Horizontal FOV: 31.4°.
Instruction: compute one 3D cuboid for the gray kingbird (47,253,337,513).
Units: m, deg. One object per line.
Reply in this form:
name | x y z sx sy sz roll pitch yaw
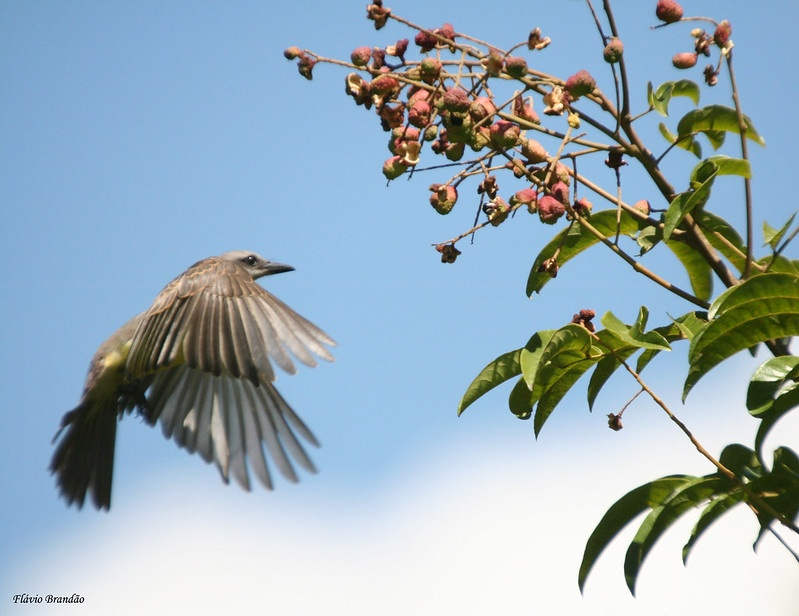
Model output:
gray kingbird | -1.575 0.319 9.521 1.494 1.487 2.361 -6 -13 -22
